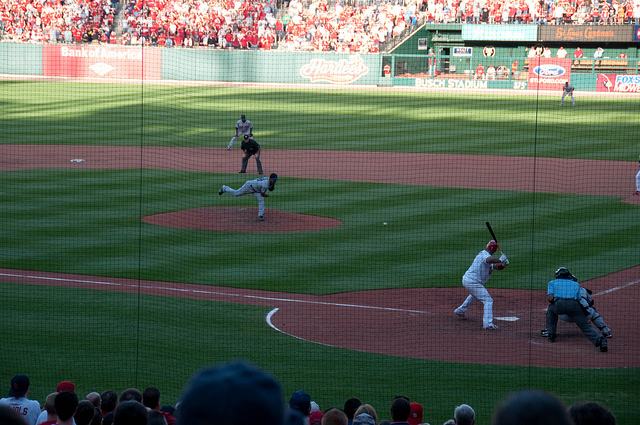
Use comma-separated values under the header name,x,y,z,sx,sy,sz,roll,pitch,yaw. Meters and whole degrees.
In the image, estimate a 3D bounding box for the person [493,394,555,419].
name,x,y,z,sx,sy,sz,roll,pitch,yaw
person,5.725,5.312,32.331,1.389,0.677,0.804,2,11,7
